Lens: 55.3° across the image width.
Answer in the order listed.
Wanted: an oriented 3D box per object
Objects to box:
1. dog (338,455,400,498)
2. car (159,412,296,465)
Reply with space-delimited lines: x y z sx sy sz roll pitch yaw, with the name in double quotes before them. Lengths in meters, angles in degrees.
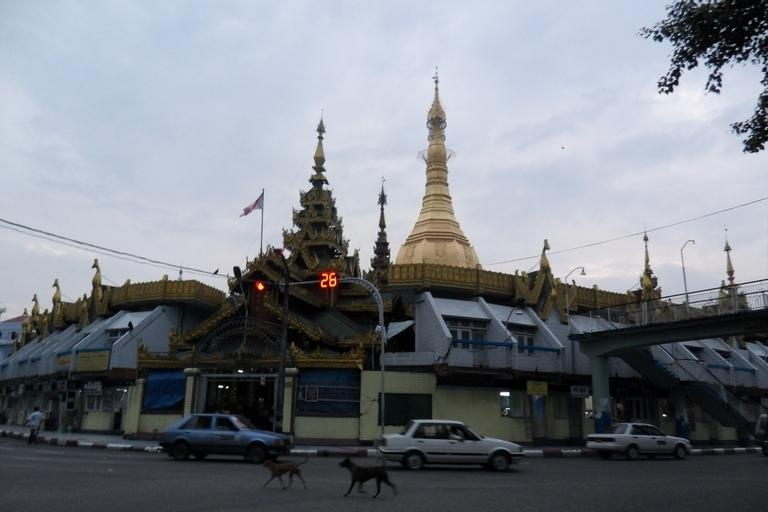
"dog" -0.546 7.376 24.206 2.091 1.179 0.532 -4 -14 22
"car" -6.590 7.829 31.383 4.915 1.709 2.305 -2 -13 7
